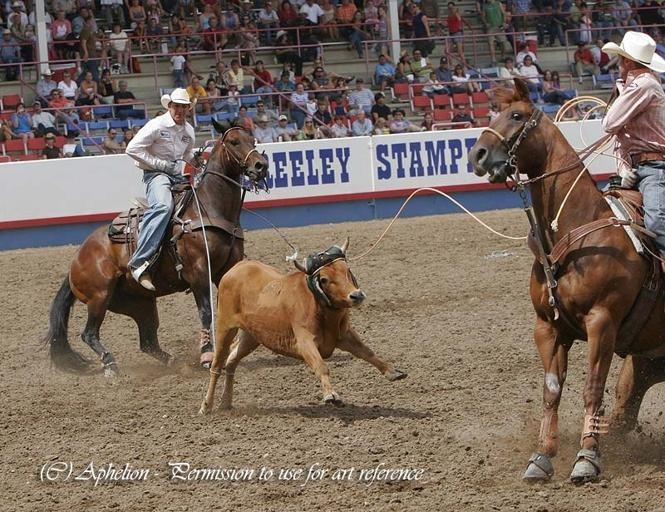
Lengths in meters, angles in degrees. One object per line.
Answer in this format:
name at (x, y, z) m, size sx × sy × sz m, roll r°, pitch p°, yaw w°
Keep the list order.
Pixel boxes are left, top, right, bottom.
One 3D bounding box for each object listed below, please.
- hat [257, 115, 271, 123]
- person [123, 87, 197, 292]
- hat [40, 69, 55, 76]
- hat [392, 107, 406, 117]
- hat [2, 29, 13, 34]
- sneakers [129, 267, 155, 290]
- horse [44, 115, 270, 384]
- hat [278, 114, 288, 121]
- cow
hat at (-1.529, -2.924, 23.762) m, size 0.247 × 0.073 × 0.244 m, roll -7°, pitch 0°, yaw 32°
person at (-2.181, -0.872, 13.892) m, size 0.598 × 2.392 × 1.186 m, roll 5°, pitch 16°, yaw 38°
hat at (-6.509, -4.134, 24.914) m, size 0.254 × 0.095 × 0.274 m, roll -3°, pitch -6°, yaw -17°
hat at (1.500, -3.259, 24.819) m, size 0.307 × 0.153 × 0.347 m, roll 2°, pitch -5°, yaw 4°
hat at (-7.678, -5.241, 25.804) m, size 0.179 × 0.067 × 0.246 m, roll -4°, pitch 8°, yaw -36°
sneakers at (-2.377, 0.268, 13.697) m, size 0.353 × 0.200 × 0.162 m, roll 45°, pitch 35°, yaw 11°
horse at (-2.277, 0.161, 14.398) m, size 4.665 × 2.630 × 1.151 m, roll -22°, pitch -22°, yaw 39°
hat at (-1.081, -2.982, 23.753) m, size 0.181 × 0.082 × 0.264 m, roll -2°, pitch 8°, yaw -6°
cow at (-0.458, 0.824, 11.946) m, size 0.884 × 1.860 × 2.743 m, roll -3°, pitch 2°, yaw -40°
